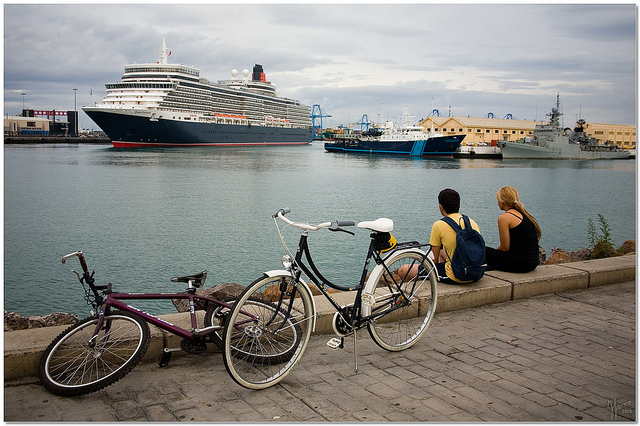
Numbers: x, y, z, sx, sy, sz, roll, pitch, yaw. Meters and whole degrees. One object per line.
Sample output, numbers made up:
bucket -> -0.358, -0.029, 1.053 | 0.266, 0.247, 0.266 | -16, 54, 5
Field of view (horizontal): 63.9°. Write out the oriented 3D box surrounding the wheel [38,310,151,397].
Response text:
wheel -> -2.292, 1.441, 5.276 | 1.113, 0.288, 1.110 | -6, 31, 3

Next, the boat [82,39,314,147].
boat -> -19.882, -21.175, 99.914 | 11.643, 16.914, 59.703 | 9, 11, 28

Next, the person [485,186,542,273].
person -> 2.753, 0.266, 7.299 | 0.687, 1.266, 0.456 | 2, 11, 19

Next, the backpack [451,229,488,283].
backpack -> 1.954, 0.589, 6.850 | 0.501, 0.680, 0.424 | -10, 9, -28

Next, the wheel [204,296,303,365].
wheel -> -0.647, 1.311, 5.351 | 0.917, 0.253, 0.858 | 15, 12, -3

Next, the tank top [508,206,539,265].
tank top -> 2.897, 0.327, 7.268 | 0.497, 0.867, 0.316 | -1, 11, 3

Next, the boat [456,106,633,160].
boat -> 36.988, -11.227, 74.606 | 21.922, 7.680, 9.273 | -4, 10, -16
